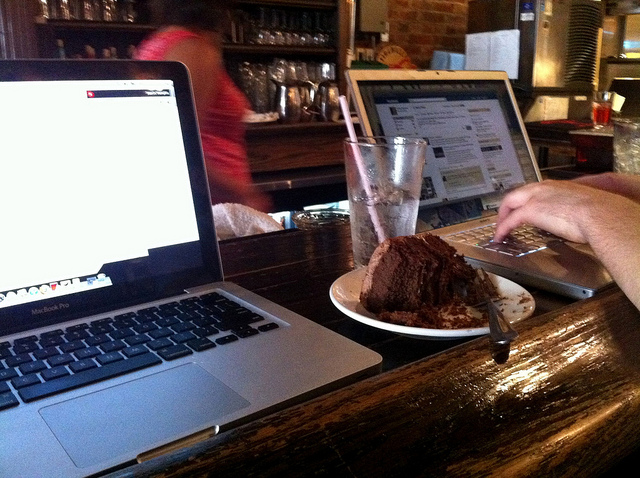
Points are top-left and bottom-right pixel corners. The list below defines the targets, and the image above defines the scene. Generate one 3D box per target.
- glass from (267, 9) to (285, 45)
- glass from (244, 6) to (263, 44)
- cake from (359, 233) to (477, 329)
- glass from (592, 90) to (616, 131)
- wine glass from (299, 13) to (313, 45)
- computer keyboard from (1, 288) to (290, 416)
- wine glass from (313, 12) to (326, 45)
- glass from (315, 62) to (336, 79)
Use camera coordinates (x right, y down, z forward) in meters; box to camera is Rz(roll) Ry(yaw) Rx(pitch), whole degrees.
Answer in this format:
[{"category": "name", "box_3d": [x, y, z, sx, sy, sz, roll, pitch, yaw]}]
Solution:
[{"category": "glass", "box_3d": [-0.332, -1.603, 3.491, 0.094, 0.253, 0.154, -10, 20, -2]}, {"category": "glass", "box_3d": [-0.478, -1.546, 3.412, 0.118, 0.210, 0.147, 7, 24, 34]}, {"category": "cake", "box_3d": [0.115, 0.047, 0.677, 0.199, 0.103, 0.185, -2, 12, -17]}, {"category": "glass", "box_3d": [1.730, -0.782, 2.798, 0.170, 0.203, 0.161, 11, 26, 31]}, {"category": "wine glass", "box_3d": [-0.121, -1.631, 3.598, 0.095, 0.236, 0.187, -6, 20, 7]}, {"category": "computer keyboard", "box_3d": [-0.225, 0.118, 0.572, 0.311, 0.029, 0.166, -15, 19, -33]}, {"category": "wine glass", "box_3d": [-0.013, -1.663, 3.654, 0.085, 0.249, 0.156, -6, 20, 7]}, {"category": "glass", "box_3d": [0.030, -1.327, 3.694, 0.168, 0.109, 0.144, 0, 6, -8]}]
